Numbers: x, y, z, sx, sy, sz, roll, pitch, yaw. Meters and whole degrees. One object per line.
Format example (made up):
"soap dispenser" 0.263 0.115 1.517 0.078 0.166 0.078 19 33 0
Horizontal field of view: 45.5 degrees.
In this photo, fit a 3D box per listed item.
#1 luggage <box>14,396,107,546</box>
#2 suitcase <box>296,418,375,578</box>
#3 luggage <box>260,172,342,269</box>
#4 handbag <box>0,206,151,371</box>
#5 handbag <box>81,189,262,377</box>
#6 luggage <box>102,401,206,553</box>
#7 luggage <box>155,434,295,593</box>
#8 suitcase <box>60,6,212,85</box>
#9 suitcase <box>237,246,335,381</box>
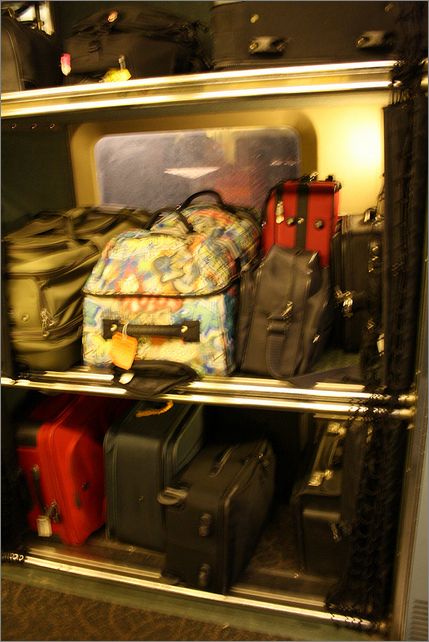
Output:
"luggage" -0.494 0.505 1.730 0.254 0.404 0.312 2 7 28
"suitcase" 0.316 0.482 1.344 0.160 0.280 0.443 6 29 19
"luggage" 0.295 -0.367 1.593 0.228 0.409 0.289 9 25 17
"handbag" -0.430 -0.131 1.566 0.488 0.414 0.720 -1 13 0
"handbag" -0.101 -0.166 1.557 0.408 0.413 0.715 2 24 11
"luggage" -0.178 0.474 1.513 0.229 0.413 0.420 3 19 12
"luggage" 0.053 0.455 1.466 0.301 0.345 0.491 4 22 15
"suitcase" -0.215 -0.766 1.479 0.323 0.152 0.402 14 29 28
"suitcase" 0.198 -0.041 1.396 0.220 0.360 0.371 16 26 15
